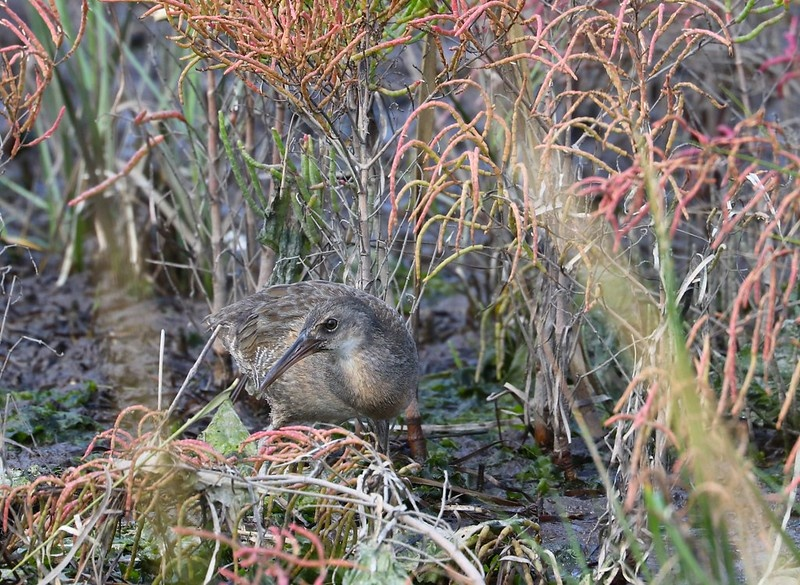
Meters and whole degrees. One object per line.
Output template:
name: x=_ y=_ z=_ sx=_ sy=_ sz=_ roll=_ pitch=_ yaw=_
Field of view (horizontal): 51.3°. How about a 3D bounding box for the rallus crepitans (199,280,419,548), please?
rallus crepitans: x=-0.443 y=0.347 z=4.004 sx=0.690 sy=0.730 sz=1.053 roll=-9 pitch=39 yaw=-22
